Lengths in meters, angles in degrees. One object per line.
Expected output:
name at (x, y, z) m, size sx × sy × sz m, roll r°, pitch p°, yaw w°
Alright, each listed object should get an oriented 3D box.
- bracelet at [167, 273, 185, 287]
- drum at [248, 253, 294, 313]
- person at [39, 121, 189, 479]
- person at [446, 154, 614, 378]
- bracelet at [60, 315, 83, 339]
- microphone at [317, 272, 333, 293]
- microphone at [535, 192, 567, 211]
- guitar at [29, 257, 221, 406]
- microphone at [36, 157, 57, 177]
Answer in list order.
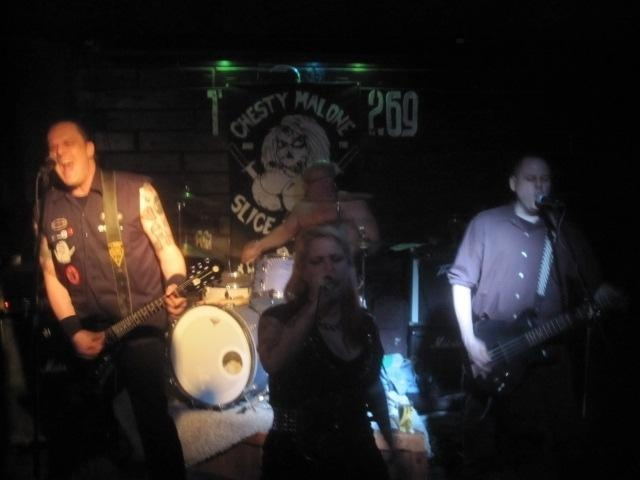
bracelet at (-0.842, 0.231, 3.751) m, size 0.085 × 0.022 × 0.060 m, roll -22°, pitch -1°, yaw -3°
drum at (-0.281, 0.286, 3.810) m, size 0.230 × 0.416 × 0.256 m, roll 2°, pitch 7°, yaw 15°
person at (-1.224, 0.335, 4.037) m, size 0.774 × 2.224 × 0.215 m, roll -13°, pitch 6°, yaw -1°
person at (1.179, 0.277, 3.887) m, size 0.770 × 1.745 × 0.490 m, roll -11°, pitch 40°, yaw -6°
bracelet at (-1.468, 0.506, 3.772) m, size 0.124 × 0.128 × 0.113 m, roll -8°, pitch 3°, yaw -13°
microphone at (0.034, 0.246, 3.659) m, size 0.072 × 0.101 × 0.015 m, roll -2°, pitch 2°, yaw -7°
microphone at (1.340, -0.223, 3.706) m, size 0.171 × 0.091 × 0.028 m, roll -2°, pitch 2°, yaw -8°
guitar at (-1.207, 0.525, 3.777) m, size 0.819 × 0.304 × 0.115 m, roll -38°, pitch 6°, yaw 2°
microphone at (-1.595, -0.429, 3.735) m, size 0.071 × 0.119 × 0.032 m, roll 29°, pitch 5°, yaw -9°
